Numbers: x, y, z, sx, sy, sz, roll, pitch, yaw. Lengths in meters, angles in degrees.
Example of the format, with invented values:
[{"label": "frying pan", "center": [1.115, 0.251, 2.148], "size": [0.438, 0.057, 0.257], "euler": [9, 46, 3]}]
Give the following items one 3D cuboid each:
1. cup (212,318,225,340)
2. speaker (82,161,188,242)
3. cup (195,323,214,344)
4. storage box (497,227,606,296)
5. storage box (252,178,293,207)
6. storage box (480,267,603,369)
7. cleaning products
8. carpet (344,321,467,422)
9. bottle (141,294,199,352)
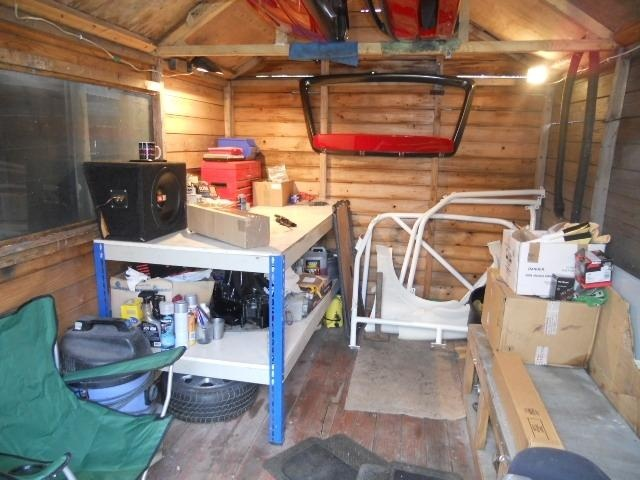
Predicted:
[{"label": "cup", "center": [-0.676, 0.598, 3.258], "size": [0.127, 0.127, 0.122], "euler": [2, 13, 0]}, {"label": "speaker", "center": [-1.164, -0.253, 3.153], "size": [0.647, 0.518, 0.363], "euler": [-4, 10, -26]}, {"label": "cup", "center": [-0.769, 0.621, 3.198], "size": [0.105, 0.111, 0.101], "euler": [1, 21, 0]}, {"label": "storage box", "center": [1.352, 0.097, 2.838], "size": [0.524, 0.422, 0.392], "euler": [4, 10, 17]}, {"label": "storage box", "center": [-0.476, -0.462, 4.711], "size": [0.299, 0.171, 0.289], "euler": [2, 13, 9]}, {"label": "storage box", "center": [1.265, 0.451, 2.774], "size": [0.492, 0.344, 0.468], "euler": [10, 3, 21]}, {"label": "cleaning products", "center": [-0.971, 0.513, 3.057], "size": [0.370, 0.373, 0.149], "euler": [-1, 13, -6]}, {"label": "carpet", "center": [0.673, 1.037, 3.728], "size": [0.847, 0.195, 1.049], "euler": [2, 8, 11]}, {"label": "bottle", "center": [-0.957, 0.533, 3.045], "size": [0.360, 0.392, 0.145], "euler": [-2, 12, -12]}]
